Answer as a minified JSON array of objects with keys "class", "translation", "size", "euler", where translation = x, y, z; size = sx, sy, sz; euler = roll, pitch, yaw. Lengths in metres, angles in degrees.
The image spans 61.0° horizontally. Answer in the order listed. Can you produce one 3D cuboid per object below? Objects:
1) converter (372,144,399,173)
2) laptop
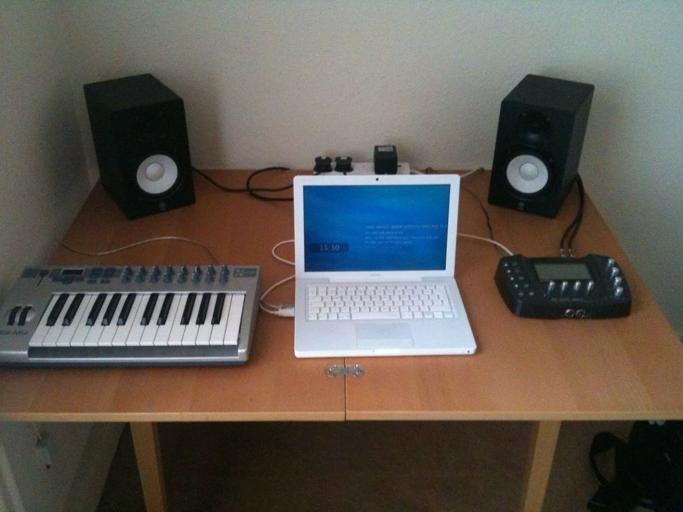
[{"class":"converter","translation":[0.146,-0.358,1.894],"size":[0.073,0.098,0.145],"euler":[1,39,2]},{"class":"laptop","translation":[0.098,0.031,1.548],"size":[0.484,0.319,0.457],"euler":[-1,47,-2]}]
